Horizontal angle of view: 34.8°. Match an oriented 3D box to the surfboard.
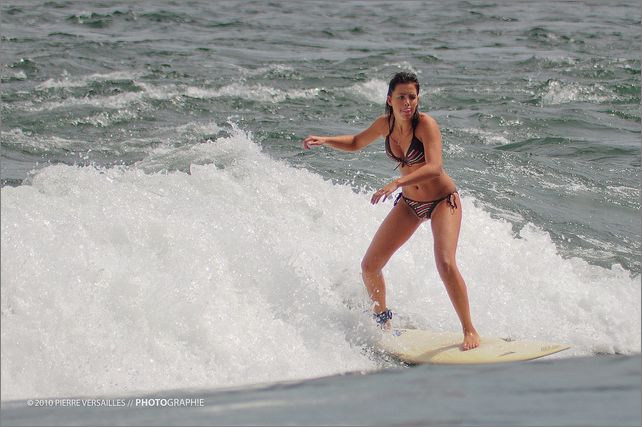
[{"bbox_3d":[2.078,2.159,16.505,3.555,0.300,0.877,1,18,30],"label":"surfboard"}]
